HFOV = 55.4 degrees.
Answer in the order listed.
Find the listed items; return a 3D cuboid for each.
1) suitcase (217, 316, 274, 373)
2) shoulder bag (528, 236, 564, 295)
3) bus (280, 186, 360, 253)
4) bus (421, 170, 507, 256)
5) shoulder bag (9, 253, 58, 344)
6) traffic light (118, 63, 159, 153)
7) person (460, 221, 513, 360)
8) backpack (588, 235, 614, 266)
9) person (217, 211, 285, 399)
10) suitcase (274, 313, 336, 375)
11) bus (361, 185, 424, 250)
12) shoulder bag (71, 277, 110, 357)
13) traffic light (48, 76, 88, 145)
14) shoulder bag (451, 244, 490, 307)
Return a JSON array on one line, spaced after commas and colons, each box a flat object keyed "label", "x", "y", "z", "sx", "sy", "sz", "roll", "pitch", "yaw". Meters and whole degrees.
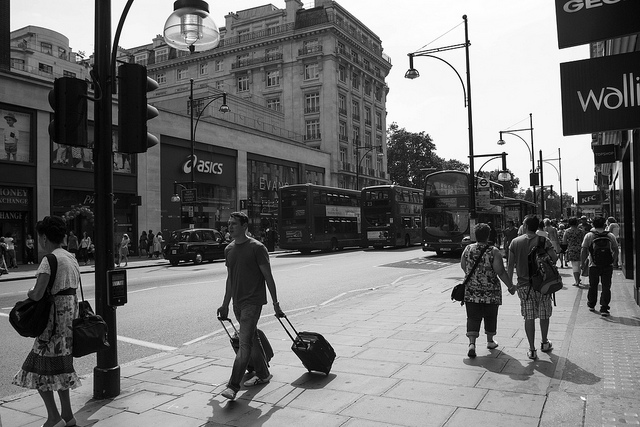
[{"label": "suitcase", "x": -1.252, "y": 2.069, "z": 10.136, "sx": 0.477, "sy": 1.225, "sz": 0.527, "roll": -12, "pitch": 28, "yaw": 21}, {"label": "shoulder bag", "x": 4.080, "y": 0.937, "z": 11.071, "sx": 0.568, "sy": 0.878, "sz": 0.335, "roll": -3, "pitch": -1, "yaw": 13}, {"label": "bus", "x": 0.652, "y": 0.397, "z": 38.585, "sx": 2.497, "sy": 4.035, "sz": 9.405, "roll": -2, "pitch": -2, "yaw": 27}, {"label": "bus", "x": 8.174, "y": -0.102, "z": 32.914, "sx": 2.775, "sy": 4.167, "sz": 8.446, "roll": -1, "pitch": -2, "yaw": 28}, {"label": "shoulder bag", "x": -4.240, "y": 1.259, "z": 8.987, "sx": 0.663, "sy": 1.332, "sz": 0.231, "roll": -1, "pitch": -2, "yaw": -26}, {"label": "traffic light", "x": -3.002, "y": -1.768, "z": 10.085, "sx": 0.467, "sy": 1.563, "sz": 0.699, "roll": -3, "pitch": -2, "yaw": 30}, {"label": "person", "x": 3.022, "y": 1.339, "z": 11.179, "sx": 0.791, "sy": 1.883, "sz": 0.412, "roll": -2, "pitch": -1, "yaw": 7}, {"label": "backpack", "x": 6.353, "y": 0.906, "z": 13.690, "sx": 0.504, "sy": 0.764, "sz": 0.435, "roll": -2, "pitch": -30, "yaw": 17}, {"label": "person", "x": -1.194, "y": 1.427, "z": 9.949, "sx": 0.992, "sy": 2.919, "sz": 0.818, "roll": -2, "pitch": -1, "yaw": -11}, {"label": "suitcase", "x": -0.266, "y": 2.040, "z": 10.260, "sx": 0.495, "sy": 1.441, "sz": 0.496, "roll": -7, "pitch": 36, "yaw": 32}, {"label": "bus", "x": 5.448, "y": 0.286, "z": 39.948, "sx": 2.489, "sy": 3.946, "sz": 8.148, "roll": -2, "pitch": -2, "yaw": 26}, {"label": "shoulder bag", "x": -3.526, "y": 1.580, "z": 9.277, "sx": 0.541, "sy": 1.205, "sz": 0.472, "roll": -2, "pitch": -2, "yaw": -20}, {"label": "traffic light", "x": -3.978, "y": -1.609, "z": 9.598, "sx": 0.550, "sy": 1.047, "sz": 0.273, "roll": -2, "pitch": -1, "yaw": -21}, {"label": "shoulder bag", "x": 2.730, "y": 1.035, "z": 11.345, "sx": 0.141, "sy": 1.268, "sz": 0.296, "roll": 24, "pitch": -8, "yaw": -31}]
